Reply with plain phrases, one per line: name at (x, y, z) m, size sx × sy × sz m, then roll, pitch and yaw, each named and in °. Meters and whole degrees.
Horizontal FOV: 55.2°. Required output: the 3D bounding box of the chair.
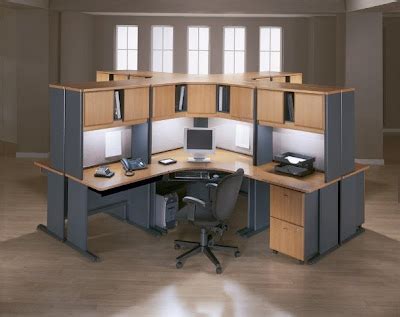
chair at (0.058, 0.699, 4.674) m, size 0.836 × 1.099 × 0.878 m, roll 8°, pitch 11°, yaw 31°
